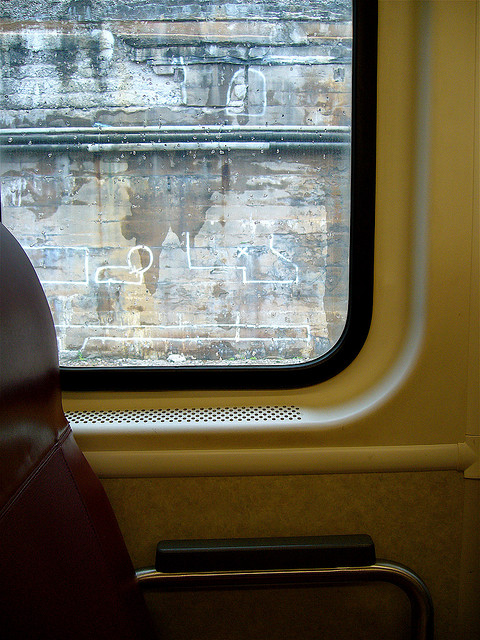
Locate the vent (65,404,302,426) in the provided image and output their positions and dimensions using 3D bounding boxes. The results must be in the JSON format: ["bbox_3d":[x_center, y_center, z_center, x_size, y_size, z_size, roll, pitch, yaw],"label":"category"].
[{"bbox_3d":[-0.125,0.207,1.658,0.520,0.022,0.077,-1,11,0],"label":"vent"}]
